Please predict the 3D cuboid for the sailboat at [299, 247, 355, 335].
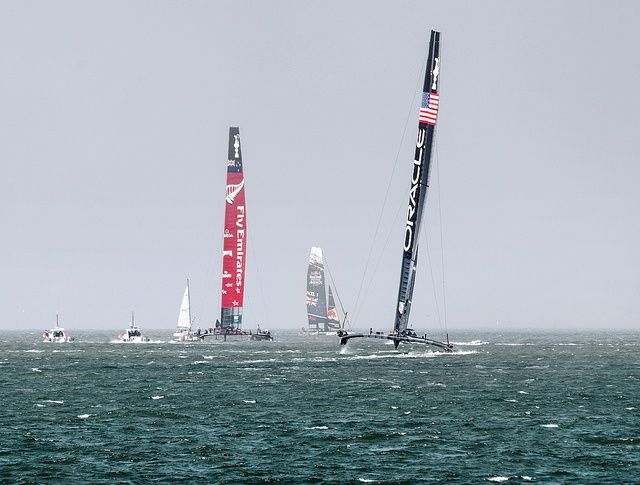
[{"bbox_3d":[-0.102,9.261,187.381,4.081,15.715,5.087,-5,1,-32],"label":"sailboat"}]
